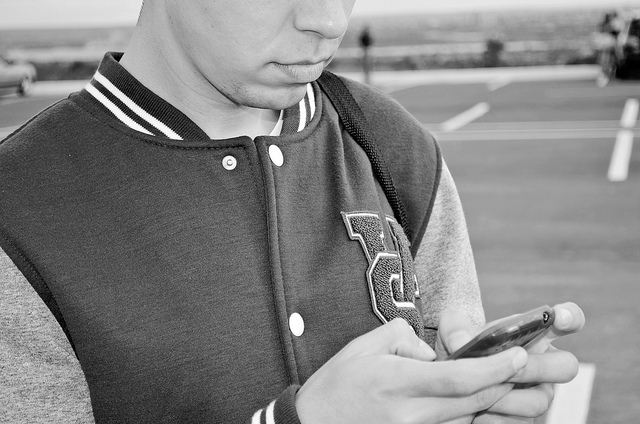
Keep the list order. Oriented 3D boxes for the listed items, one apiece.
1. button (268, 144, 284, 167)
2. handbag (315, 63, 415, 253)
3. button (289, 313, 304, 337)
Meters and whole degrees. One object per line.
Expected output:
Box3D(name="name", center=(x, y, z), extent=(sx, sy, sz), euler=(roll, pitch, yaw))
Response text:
Box3D(name="button", center=(-0.116, -0.147, 1.913), extent=(0.012, 0.053, 0.053), euler=(-15, 17, 35))
Box3D(name="handbag", center=(0.079, -0.152, 2.107), extent=(0.095, 0.286, 0.487), euler=(-20, 70, 12))
Box3D(name="button", center=(-0.059, 0.287, 1.832), extent=(0.010, 0.050, 0.051), euler=(-9, 16, 28))
